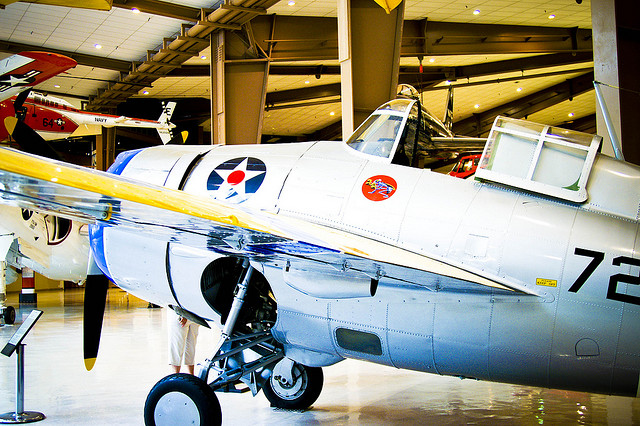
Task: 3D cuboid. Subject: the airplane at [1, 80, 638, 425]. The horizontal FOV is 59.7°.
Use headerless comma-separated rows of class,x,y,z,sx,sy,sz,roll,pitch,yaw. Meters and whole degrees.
airplane,-0.268,0.432,6.593,6.616,2.066,5.754,4,-2,34
